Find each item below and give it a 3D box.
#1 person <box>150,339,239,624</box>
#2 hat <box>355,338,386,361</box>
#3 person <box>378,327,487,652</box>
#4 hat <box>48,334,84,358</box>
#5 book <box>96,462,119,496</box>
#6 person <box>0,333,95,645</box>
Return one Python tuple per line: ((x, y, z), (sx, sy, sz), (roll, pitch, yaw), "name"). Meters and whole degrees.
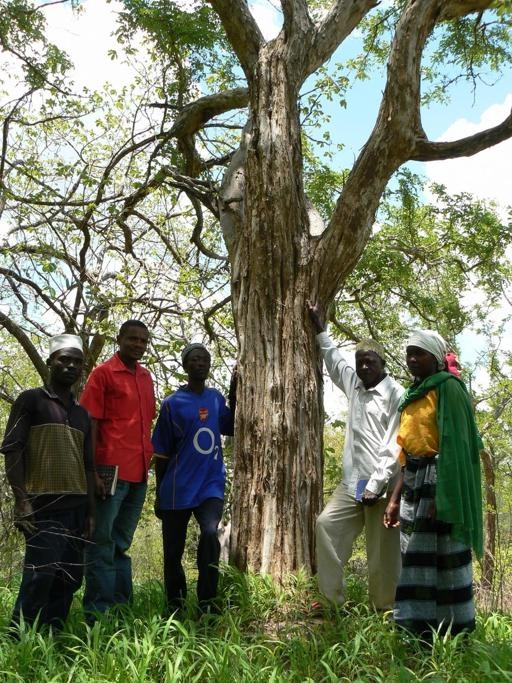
((-0.449, 0.867, 4.203), (0.509, 1.732, 0.876), (2, -6, -2), "person")
((0.810, 0.095, 4.438), (0.150, 0.172, 0.196), (-7, -50, 17), "hat")
((1.013, 0.779, 3.640), (0.544, 1.735, 0.483), (0, -7, 17), "person")
((-1.128, 0.019, 3.729), (0.159, 0.096, 0.154), (7, -32, -22), "hat")
((-0.931, 0.858, 3.882), (0.175, 0.156, 0.041), (2, -7, 8), "book")
((-1.149, 0.790, 3.560), (0.415, 1.711, 0.649), (1, -7, 12), "person")
